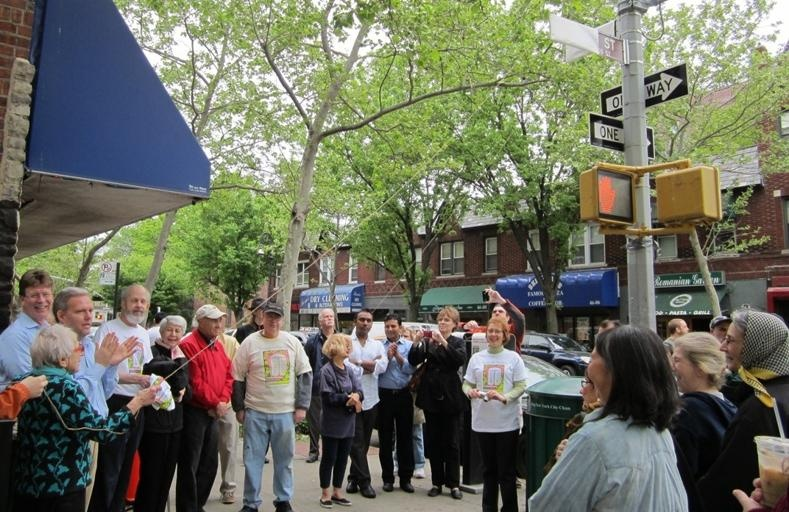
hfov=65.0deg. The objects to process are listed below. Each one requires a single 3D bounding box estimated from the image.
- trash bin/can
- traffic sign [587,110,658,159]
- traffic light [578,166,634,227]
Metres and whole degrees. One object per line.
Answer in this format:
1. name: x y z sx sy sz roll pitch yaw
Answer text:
1. trash bin/can: 1.870 2.202 7.432 0.779 1.436 0.578 -5 -11 29
2. traffic sign: 3.198 -1.706 8.834 1.167 0.493 0.012 6 -7 -26
3. traffic light: 2.796 -0.780 8.255 0.833 0.768 0.418 5 -8 -34
